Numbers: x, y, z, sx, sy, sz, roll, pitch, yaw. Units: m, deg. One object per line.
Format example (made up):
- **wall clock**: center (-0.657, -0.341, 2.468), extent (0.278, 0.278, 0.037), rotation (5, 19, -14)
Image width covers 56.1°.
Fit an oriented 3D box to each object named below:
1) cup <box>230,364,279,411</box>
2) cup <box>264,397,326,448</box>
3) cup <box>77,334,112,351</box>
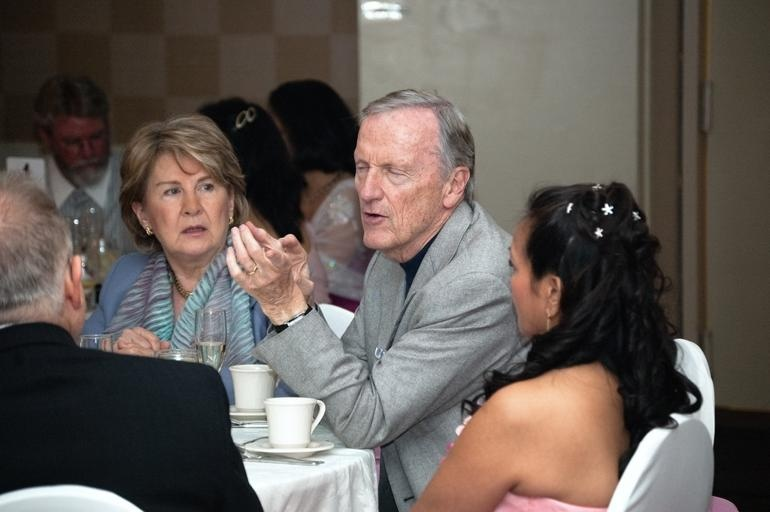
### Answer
- **cup**: center (-0.393, 0.388, 2.169), extent (0.131, 0.117, 0.141), rotation (0, -6, 0)
- **cup**: center (-0.223, 0.422, 1.837), extent (0.133, 0.100, 0.115), rotation (3, -6, -13)
- **cup**: center (-0.791, 0.238, 1.969), extent (0.072, 0.075, 0.074), rotation (0, -5, 0)
